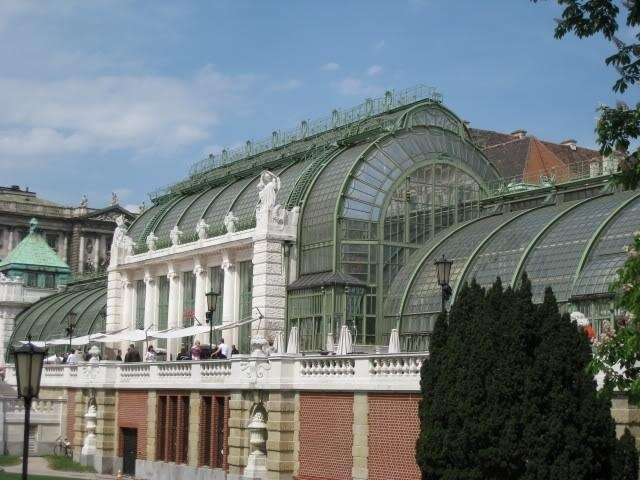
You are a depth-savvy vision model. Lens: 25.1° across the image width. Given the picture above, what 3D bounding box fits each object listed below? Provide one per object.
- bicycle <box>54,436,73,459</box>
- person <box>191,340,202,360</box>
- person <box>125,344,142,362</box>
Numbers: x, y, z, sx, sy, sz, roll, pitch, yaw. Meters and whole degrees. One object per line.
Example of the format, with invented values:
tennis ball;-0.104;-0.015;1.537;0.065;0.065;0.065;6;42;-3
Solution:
bicycle;-12.216;10.007;68.084;0.590;0.735;1.194;-8;-17;22
person;-5.411;4.904;62.098;0.387;0.853;1.002;0;-13;-4
person;-9.183;5.665;70.019;0.575;1.003;0.996;10;-18;-36
